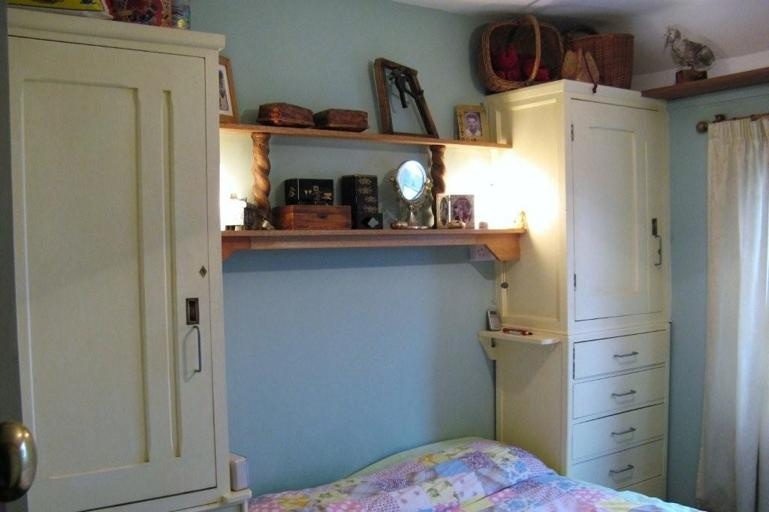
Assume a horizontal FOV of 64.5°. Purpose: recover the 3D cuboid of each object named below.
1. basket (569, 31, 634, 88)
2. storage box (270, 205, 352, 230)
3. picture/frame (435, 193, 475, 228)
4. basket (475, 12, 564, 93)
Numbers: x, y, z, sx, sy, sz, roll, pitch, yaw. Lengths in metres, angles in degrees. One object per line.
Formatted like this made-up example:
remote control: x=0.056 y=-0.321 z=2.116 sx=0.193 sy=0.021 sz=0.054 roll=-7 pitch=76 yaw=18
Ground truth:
basket: x=1.328 y=-1.187 z=3.759 sx=0.351 sy=0.289 sz=0.386 roll=-2 pitch=5 yaw=-6
storage box: x=-0.367 y=-0.195 z=3.096 sx=0.381 sy=0.132 sz=0.137 roll=-4 pitch=5 yaw=-11
picture/frame: x=0.406 y=-0.253 z=3.469 sx=0.237 sy=0.199 sz=0.142 roll=-4 pitch=5 yaw=-6
basket: x=0.774 y=-1.220 z=3.727 sx=0.524 sy=0.424 sz=0.378 roll=-12 pitch=10 yaw=-17
